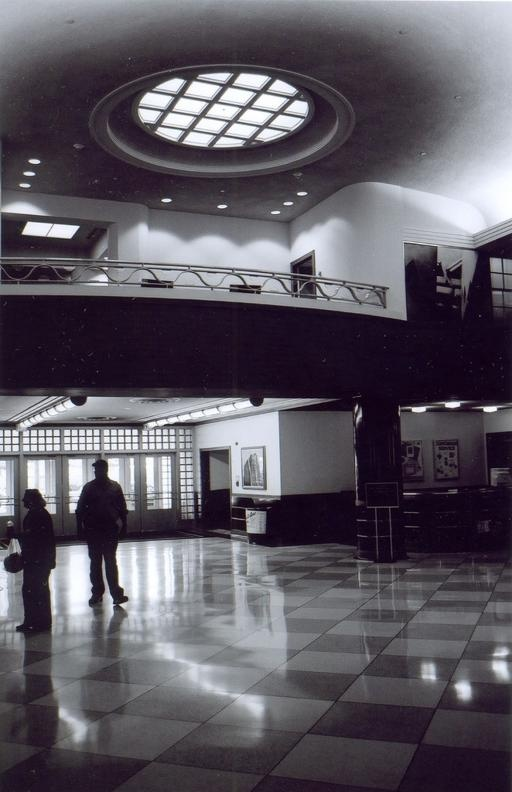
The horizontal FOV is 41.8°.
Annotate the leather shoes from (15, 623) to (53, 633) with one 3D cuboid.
[{"bbox_3d":[-2.285,2.352,6.842,0.393,0.076,0.189,-3,-7,10],"label":"leather shoes"}]

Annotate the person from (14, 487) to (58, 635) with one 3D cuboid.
[{"bbox_3d":[-2.291,1.685,6.990,0.374,1.434,0.411,1,-7,-21],"label":"person"}]

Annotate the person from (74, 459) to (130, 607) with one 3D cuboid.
[{"bbox_3d":[-1.844,1.644,8.073,0.578,1.735,0.648,0,-6,-13],"label":"person"}]

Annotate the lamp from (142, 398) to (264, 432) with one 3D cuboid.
[{"bbox_3d":[-1.175,0.394,15.513,0.381,0.317,3.815,-23,7,-38],"label":"lamp"}]
